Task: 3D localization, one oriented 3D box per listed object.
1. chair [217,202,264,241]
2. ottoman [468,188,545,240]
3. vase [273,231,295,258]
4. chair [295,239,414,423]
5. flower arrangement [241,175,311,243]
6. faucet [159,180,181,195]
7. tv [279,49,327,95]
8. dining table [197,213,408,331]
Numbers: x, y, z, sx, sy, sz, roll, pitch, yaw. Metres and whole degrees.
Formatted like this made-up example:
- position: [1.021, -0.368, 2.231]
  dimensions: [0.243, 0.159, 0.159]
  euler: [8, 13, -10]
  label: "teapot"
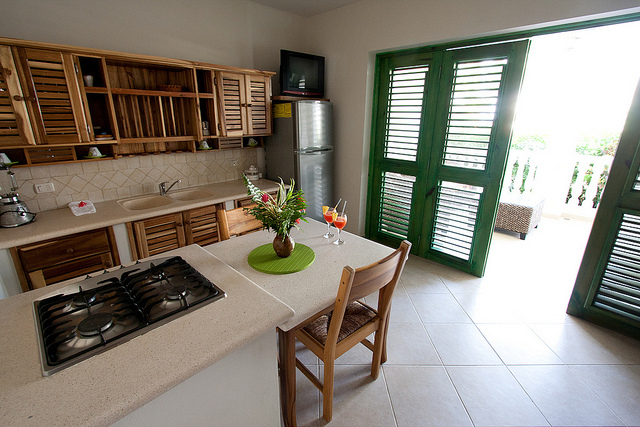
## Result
- position: [-0.740, 0.080, 3.574]
  dimensions: [0.256, 0.468, 0.256]
  euler: [-18, 32, -36]
  label: "chair"
- position: [2.869, 0.024, 5.645]
  dimensions: [0.522, 0.569, 0.532]
  euler: [14, 22, 30]
  label: "ottoman"
- position: [-0.303, 0.228, 3.221]
  dimensions: [0.198, 0.255, 0.195]
  euler: [4, 11, 17]
  label: "vase"
- position: [0.248, 1.017, 3.222]
  dimensions: [0.855, 1.467, 0.951]
  euler: [-19, 35, -36]
  label: "chair"
- position: [-0.332, -0.059, 3.256]
  dimensions: [0.549, 0.421, 0.485]
  euler: [4, 19, 3]
  label: "flower arrangement"
- position: [-1.735, -0.312, 4.507]
  dimensions: [0.260, 0.156, 0.146]
  euler: [-8, 22, -30]
  label: "faucet"
- position: [-0.313, -1.769, 5.024]
  dimensions: [0.696, 0.546, 0.364]
  euler: [-11, 20, -41]
  label: "tv"
- position: [-0.164, 0.393, 3.215]
  dimensions: [1.348, 0.721, 1.152]
  euler: [-9, 21, -30]
  label: "dining table"
